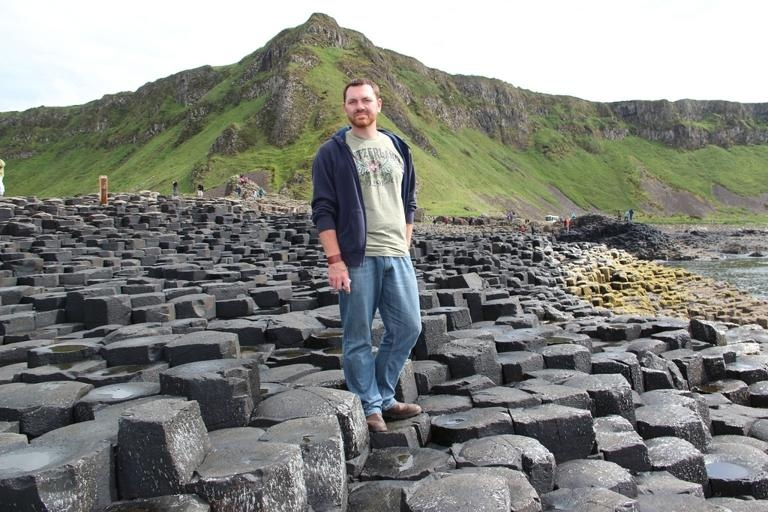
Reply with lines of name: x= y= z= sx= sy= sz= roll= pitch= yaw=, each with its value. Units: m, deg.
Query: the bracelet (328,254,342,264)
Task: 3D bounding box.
bracelet: x=-0.499 y=0.027 z=5.068 sx=0.157 sy=0.080 sz=0.078 roll=-2 pitch=2 yaw=39

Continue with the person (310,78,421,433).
person: x=-0.151 y=-0.027 z=5.253 sx=1.078 sy=2.925 sz=0.459 roll=-5 pitch=1 yaw=-11
